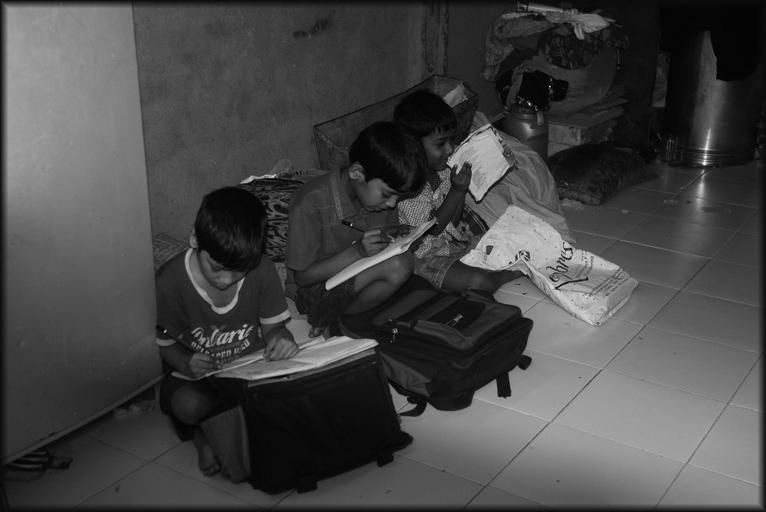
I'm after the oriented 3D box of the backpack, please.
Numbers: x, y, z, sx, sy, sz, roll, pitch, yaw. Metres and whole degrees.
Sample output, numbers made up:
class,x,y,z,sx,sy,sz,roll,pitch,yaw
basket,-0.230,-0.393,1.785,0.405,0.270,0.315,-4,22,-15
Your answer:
class,x,y,z,sx,sy,sz,roll,pitch,yaw
backpack,0.201,0.311,2.428,0.711,0.233,0.692,19,43,38

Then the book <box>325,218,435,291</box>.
class,x,y,z,sx,sy,sz,roll,pitch,yaw
book,-0.032,-0.005,2.445,0.662,0.066,0.357,-30,7,7

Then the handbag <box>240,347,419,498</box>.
class,x,y,z,sx,sy,sz,roll,pitch,yaw
handbag,-0.212,0.555,1.954,0.581,0.357,0.297,-11,8,-32

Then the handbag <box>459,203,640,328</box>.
class,x,y,z,sx,sy,sz,roll,pitch,yaw
handbag,0.840,0.078,2.947,0.767,0.183,0.502,30,56,24
